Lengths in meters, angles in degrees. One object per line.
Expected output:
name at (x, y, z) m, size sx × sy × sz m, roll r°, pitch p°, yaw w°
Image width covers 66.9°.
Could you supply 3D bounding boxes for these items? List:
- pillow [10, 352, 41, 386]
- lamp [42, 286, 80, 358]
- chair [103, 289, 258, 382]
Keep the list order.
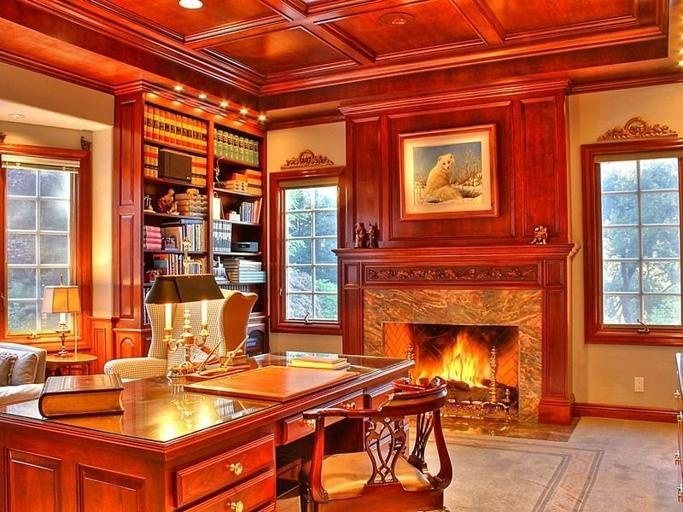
pillow at (-2.715, 0.984, 4.435) m, size 0.268 × 0.170 × 0.096 m, roll 2°, pitch -25°, yaw 21°
lamp at (-2.863, 0.674, 5.299) m, size 0.322 × 0.716 × 0.534 m, roll -1°, pitch 0°, yaw -28°
chair at (-1.240, 0.758, 3.931) m, size 1.015 × 0.990 × 0.953 m, roll 2°, pitch -6°, yaw -14°
